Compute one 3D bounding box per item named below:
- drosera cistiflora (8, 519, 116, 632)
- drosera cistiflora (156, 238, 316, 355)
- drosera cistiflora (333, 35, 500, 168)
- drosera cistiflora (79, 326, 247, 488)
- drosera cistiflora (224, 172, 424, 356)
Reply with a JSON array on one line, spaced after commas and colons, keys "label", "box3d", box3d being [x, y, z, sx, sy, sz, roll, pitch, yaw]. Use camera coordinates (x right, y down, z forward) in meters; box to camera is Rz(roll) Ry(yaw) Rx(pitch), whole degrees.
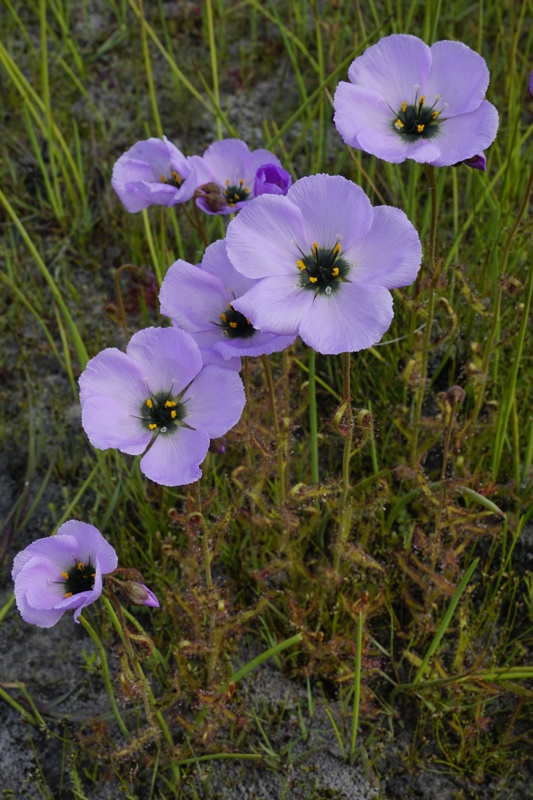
[{"label": "drosera cistiflora", "box3d": [-0.480, 0.443, 1.747, 0.267, 0.150, 0.288, 4, 34, -4]}, {"label": "drosera cistiflora", "box3d": [-0.156, -0.212, 1.929, 0.336, 0.156, 0.340, 13, 66, -10]}, {"label": "drosera cistiflora", "box3d": [0.434, -0.850, 2.023, 0.427, 0.418, 0.163, 13, 80, -3]}, {"label": "drosera cistiflora", "box3d": [-0.267, 0.018, 1.786, 0.412, 0.211, 0.357, 28, 62, 23]}, {"label": "drosera cistiflora", "box3d": [0.117, -0.333, 1.670, 0.450, 0.181, 0.416, 23, 60, 20]}]
